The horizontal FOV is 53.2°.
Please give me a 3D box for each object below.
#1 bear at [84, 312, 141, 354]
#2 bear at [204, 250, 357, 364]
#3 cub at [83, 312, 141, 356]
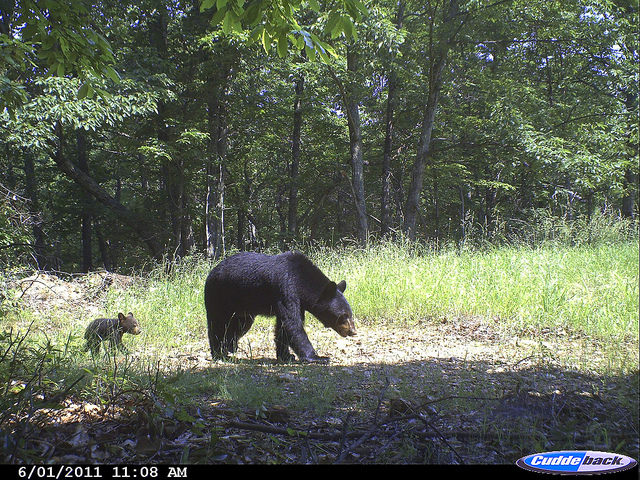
[{"bbox_3d":[-2.097,0.946,6.442,0.634,0.366,0.231,-13,-6,9],"label":"bear"},{"bbox_3d":[-0.468,0.695,7.466,1.828,1.399,0.779,2,-7,-8],"label":"bear"},{"bbox_3d":[-2.045,0.894,6.377,0.433,0.421,0.435,-1,2,3],"label":"cub"}]
